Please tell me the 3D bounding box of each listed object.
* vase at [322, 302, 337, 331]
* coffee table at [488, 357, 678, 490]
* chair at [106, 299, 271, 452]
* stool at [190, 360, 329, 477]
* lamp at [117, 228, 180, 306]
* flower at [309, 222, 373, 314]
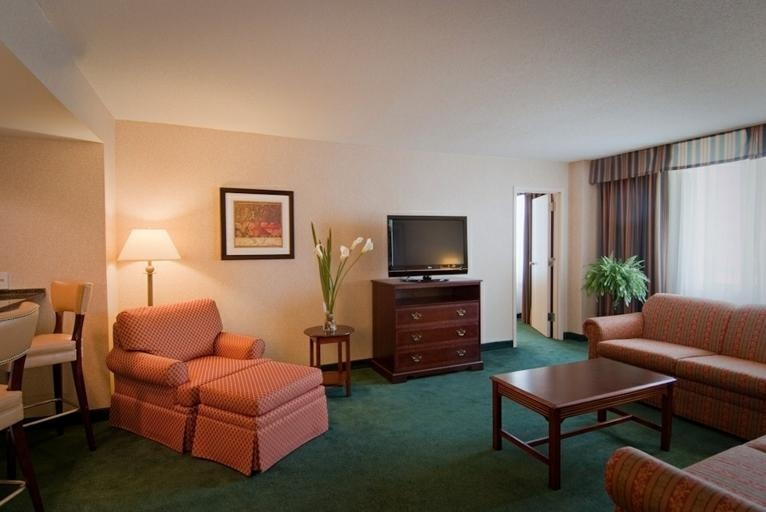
[{"bbox_3d":[-0.599,0.670,5.760,0.141,0.317,0.318,-2,14,-7],"label":"vase"},{"bbox_3d":[1.648,1.668,4.552,1.492,0.685,0.901,-4,7,-27],"label":"coffee table"},{"bbox_3d":[-1.920,1.000,5.302,1.327,1.277,1.374,1,1,33],"label":"chair"},{"bbox_3d":[-1.070,1.441,4.648,1.203,0.631,0.635,-9,17,-32],"label":"stool"},{"bbox_3d":[-2.418,0.116,5.376,0.537,0.810,0.479,-7,16,-25],"label":"lamp"},{"bbox_3d":[-0.477,0.198,6.095,0.724,1.088,0.986,-1,14,-3],"label":"flower"}]
